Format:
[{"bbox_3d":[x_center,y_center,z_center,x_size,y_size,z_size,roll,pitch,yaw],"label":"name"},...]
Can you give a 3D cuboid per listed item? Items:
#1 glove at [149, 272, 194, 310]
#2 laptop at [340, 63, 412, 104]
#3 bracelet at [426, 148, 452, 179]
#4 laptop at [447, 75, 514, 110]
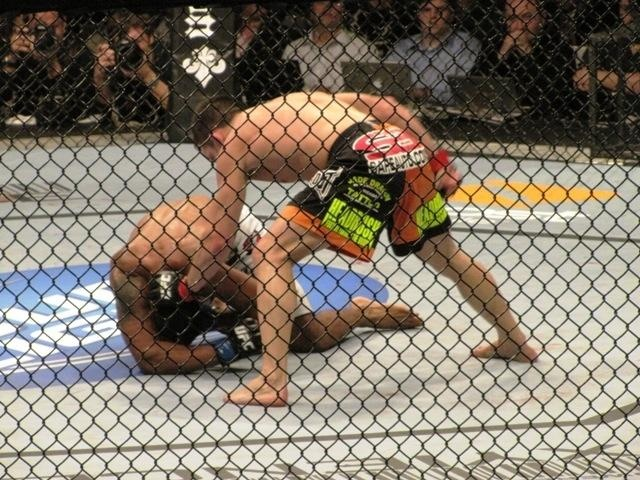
[{"bbox_3d":[-0.880,0.265,3.869,0.337,0.163,0.260,-2,-7,-7],"label":"glove"},{"bbox_3d":[0.724,-1.872,8.311,0.932,0.092,0.504,15,-34,29],"label":"laptop"},{"bbox_3d":[0.630,-0.411,3.778,0.146,0.134,0.048,24,16,17],"label":"bracelet"},{"bbox_3d":[1.927,-1.806,8.518,0.697,0.331,0.304,2,23,8],"label":"laptop"}]
